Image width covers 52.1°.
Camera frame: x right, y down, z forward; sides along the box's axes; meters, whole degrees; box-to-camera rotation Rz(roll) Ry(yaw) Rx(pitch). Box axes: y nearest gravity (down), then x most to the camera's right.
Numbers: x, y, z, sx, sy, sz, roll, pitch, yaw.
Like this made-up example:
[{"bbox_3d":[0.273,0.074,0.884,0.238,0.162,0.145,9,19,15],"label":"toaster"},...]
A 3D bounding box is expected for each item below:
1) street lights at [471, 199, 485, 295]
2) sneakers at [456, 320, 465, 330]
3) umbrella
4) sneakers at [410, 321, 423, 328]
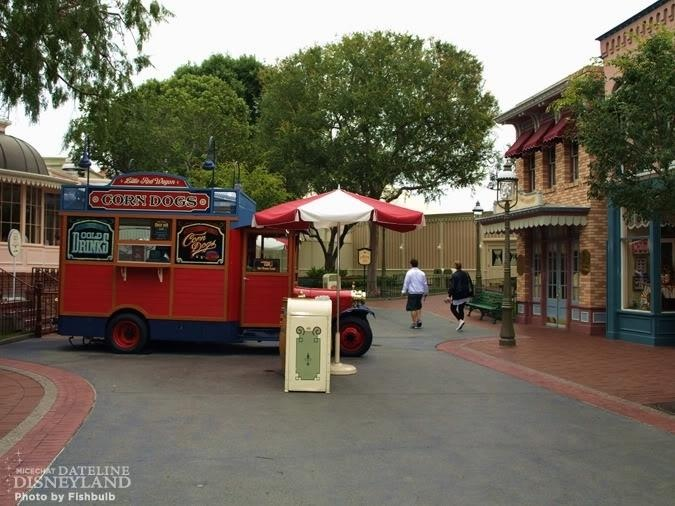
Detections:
[{"bbox_3d":[6.726,-0.229,32.926,0.591,4.351,0.626,-1,0,5],"label":"street lights"},{"bbox_3d":[3.830,2.286,21.502,0.163,0.233,0.523,5,-28,0],"label":"sneakers"},{"bbox_3d":[0.072,0.545,15.192,3.341,4.147,3.571,2,2,1],"label":"umbrella"},{"bbox_3d":[2.546,2.296,22.231,0.160,0.213,0.425,2,1,-17],"label":"sneakers"}]
